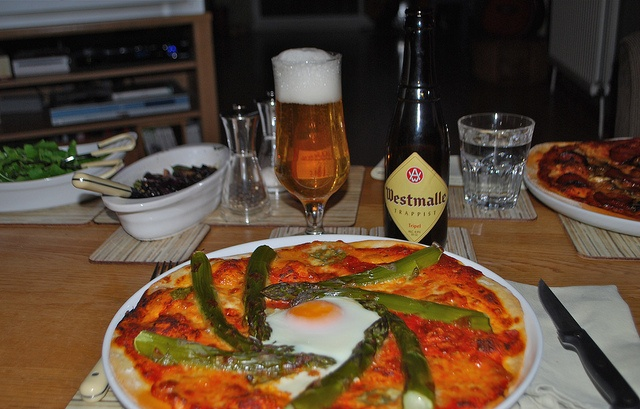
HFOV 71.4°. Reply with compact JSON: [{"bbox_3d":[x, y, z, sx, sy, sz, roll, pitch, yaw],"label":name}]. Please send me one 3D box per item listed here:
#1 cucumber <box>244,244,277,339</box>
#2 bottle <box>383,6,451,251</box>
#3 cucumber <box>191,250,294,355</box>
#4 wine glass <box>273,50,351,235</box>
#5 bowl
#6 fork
[{"bbox_3d":[-0.110,0.146,0.788,0.038,0.024,0.164,-10,32,3],"label":"cucumber"},{"bbox_3d":[0.219,-0.143,0.967,0.159,0.507,0.196,5,28,14],"label":"bottle"},{"bbox_3d":[-0.155,0.164,0.769,0.102,0.025,0.175,-1,36,-9],"label":"cucumber"},{"bbox_3d":[-0.021,-0.123,1.034,0.173,0.437,0.161,-5,27,-5],"label":"wine glass"},{"bbox_3d":[-0.402,-0.094,1.208,0.282,0.127,0.302,-14,19,5],"label":"bowl"},{"bbox_3d":[-0.349,0.237,0.815,0.067,0.298,0.033,22,-10,-6],"label":"fork"}]
